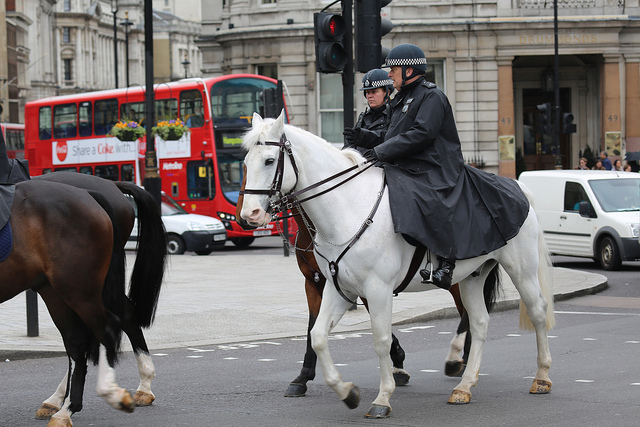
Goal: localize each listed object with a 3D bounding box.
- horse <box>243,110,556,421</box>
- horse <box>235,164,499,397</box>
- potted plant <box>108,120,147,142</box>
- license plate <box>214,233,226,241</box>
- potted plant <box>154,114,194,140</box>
[{"bbox_3d":[1.343,0.423,19.431,5.098,4.368,4.358,-1,12,-4],"label":"horse"},{"bbox_3d":[1.196,0.945,19.337,6.322,4.234,1.571,4,-1,-40],"label":"horse"},{"bbox_3d":[-5.529,-2.353,35.002,1.100,0.530,1.068,0,3,-20],"label":"potted plant"},{"bbox_3d":[-2.781,0.647,34.010,0.082,0.198,0.504,7,14,29],"label":"license plate"},{"bbox_3d":[-4.269,-2.444,35.198,0.860,0.351,0.831,-3,1,21],"label":"potted plant"}]
